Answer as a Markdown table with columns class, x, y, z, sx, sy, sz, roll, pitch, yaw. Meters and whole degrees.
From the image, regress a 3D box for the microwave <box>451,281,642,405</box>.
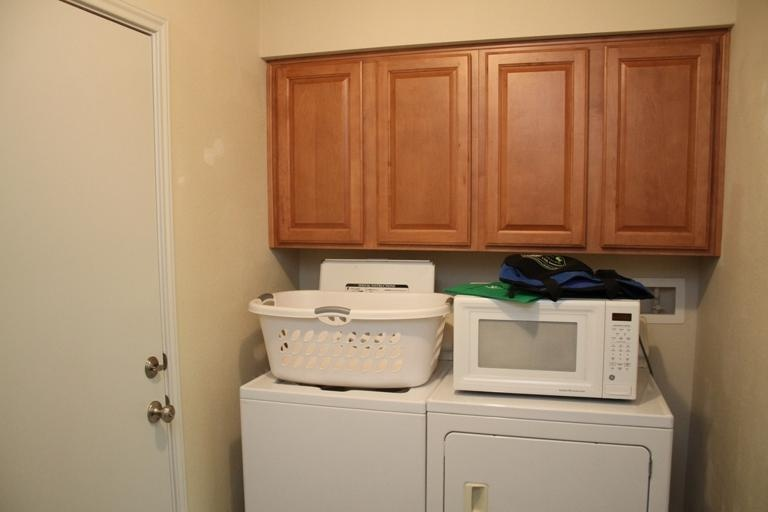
| class | x | y | z | sx | sy | sz | roll | pitch | yaw |
| --- | --- | --- | --- | --- | --- | --- | --- | --- | --- |
| microwave | 0.720 | 0.400 | 2.693 | 0.752 | 0.383 | 0.516 | 0 | -7 | 17 |

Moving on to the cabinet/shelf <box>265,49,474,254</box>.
| class | x | y | z | sx | sy | sz | roll | pitch | yaw |
| --- | --- | --- | --- | --- | --- | --- | --- | --- | --- |
| cabinet/shelf | -0.031 | -0.522 | 2.913 | 1.024 | 0.835 | 0.354 | 0 | 1 | 8 |

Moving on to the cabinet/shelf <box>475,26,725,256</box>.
| class | x | y | z | sx | sy | sz | roll | pitch | yaw |
| --- | --- | --- | --- | --- | --- | --- | --- | --- | --- |
| cabinet/shelf | 1.003 | -0.532 | 2.719 | 1.090 | 0.951 | 0.374 | 1 | 0 | 12 |
